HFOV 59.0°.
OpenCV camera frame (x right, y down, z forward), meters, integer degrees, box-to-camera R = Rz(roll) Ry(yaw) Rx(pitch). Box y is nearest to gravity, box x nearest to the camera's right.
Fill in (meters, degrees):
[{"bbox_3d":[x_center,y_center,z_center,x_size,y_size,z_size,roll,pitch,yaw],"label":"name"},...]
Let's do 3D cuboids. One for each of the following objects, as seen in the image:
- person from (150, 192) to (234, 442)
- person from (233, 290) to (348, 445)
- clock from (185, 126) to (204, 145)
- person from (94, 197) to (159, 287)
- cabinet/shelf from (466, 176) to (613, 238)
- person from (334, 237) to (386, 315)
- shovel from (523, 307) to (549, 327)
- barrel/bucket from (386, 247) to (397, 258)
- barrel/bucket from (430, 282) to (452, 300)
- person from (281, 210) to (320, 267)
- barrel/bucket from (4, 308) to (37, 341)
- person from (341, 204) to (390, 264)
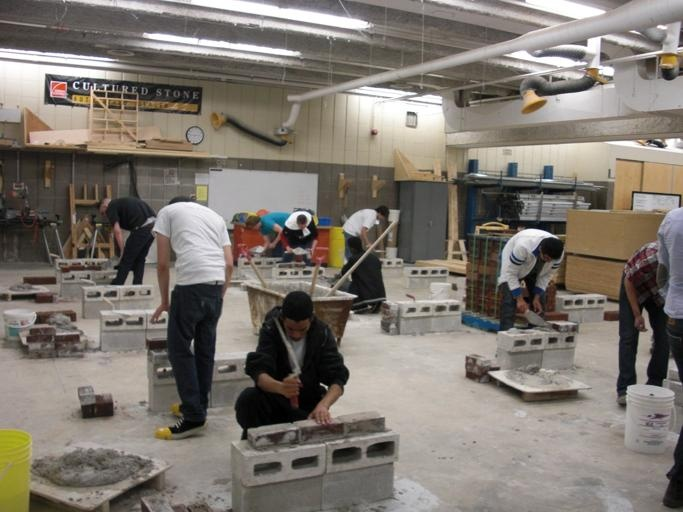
[{"bbox_3d":[-1.319,0.564,5.401,0.663,2.003,0.638,0,11,-17],"label":"person"},{"bbox_3d":[-0.376,0.833,4.946,0.890,1.325,1.108,1,4,-13],"label":"person"},{"bbox_3d":[-3.507,-2.887,14.426,0.438,0.432,0.086,0,7,-27],"label":"clock"},{"bbox_3d":[-3.377,-0.237,9.553,0.785,1.387,1.638,-1,10,-21],"label":"person"},{"bbox_3d":[5.253,-1.438,17.375,4.392,1.709,1.563,0,11,-22],"label":"cabinet/shelf"},{"bbox_3d":[0.387,0.369,9.680,0.716,1.273,0.654,1,10,-14],"label":"person"},{"bbox_3d":[2.411,0.762,7.513,0.328,0.192,0.095,33,41,-2],"label":"shovel"},{"bbox_3d":[1.331,-0.104,15.792,0.281,0.299,0.277,2,9,0],"label":"barrel/bucket"},{"bbox_3d":[1.548,0.547,9.418,0.272,0.232,0.269,-3,0,0],"label":"barrel/bucket"},{"bbox_3d":[-0.858,-0.341,12.209,0.691,1.147,1.498,2,10,-6],"label":"person"},{"bbox_3d":[-4.052,0.871,7.637,0.349,0.353,0.371,3,10,-1],"label":"barrel/bucket"},{"bbox_3d":[0.516,-0.458,12.996,0.727,0.576,1.508,10,-31,-13],"label":"person"}]
